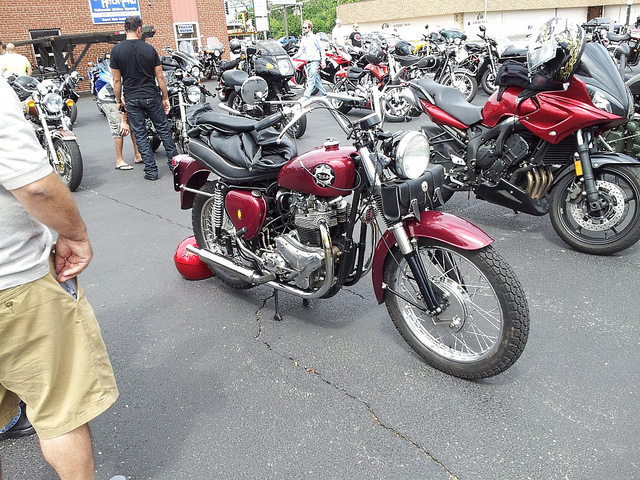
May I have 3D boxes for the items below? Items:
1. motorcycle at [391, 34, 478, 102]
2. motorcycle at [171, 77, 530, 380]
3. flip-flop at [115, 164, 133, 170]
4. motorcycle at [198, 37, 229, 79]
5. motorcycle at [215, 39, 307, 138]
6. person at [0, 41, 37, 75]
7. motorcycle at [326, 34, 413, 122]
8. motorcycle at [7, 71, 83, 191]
[{"bbox_3d":[3.054,-4.798,12.609,1.119,1.608,2.838,-31,41,-29],"label":"motorcycle"},{"bbox_3d":[-0.087,-0.182,3.471,3.205,1.766,1.256,16,23,35],"label":"motorcycle"},{"bbox_3d":[-3.518,-1.296,8.150,0.249,0.066,0.097,4,14,14],"label":"flip-flop"},{"bbox_3d":[-5.229,-8.653,21.657,1.139,1.825,2.550,-19,33,-32],"label":"motorcycle"},{"bbox_3d":[-1.205,-2.884,8.577,1.377,1.680,2.520,-20,29,-39],"label":"motorcycle"},{"bbox_3d":[-6.893,-4.031,10.250,0.587,0.664,1.682,-19,30,-29],"label":"person"},{"bbox_3d":[1.200,-3.553,10.361,2.441,1.563,1.001,20,15,41],"label":"motorcycle"},{"bbox_3d":[-4.164,-1.604,7.109,0.555,1.536,1.122,-18,29,-28],"label":"motorcycle"}]
